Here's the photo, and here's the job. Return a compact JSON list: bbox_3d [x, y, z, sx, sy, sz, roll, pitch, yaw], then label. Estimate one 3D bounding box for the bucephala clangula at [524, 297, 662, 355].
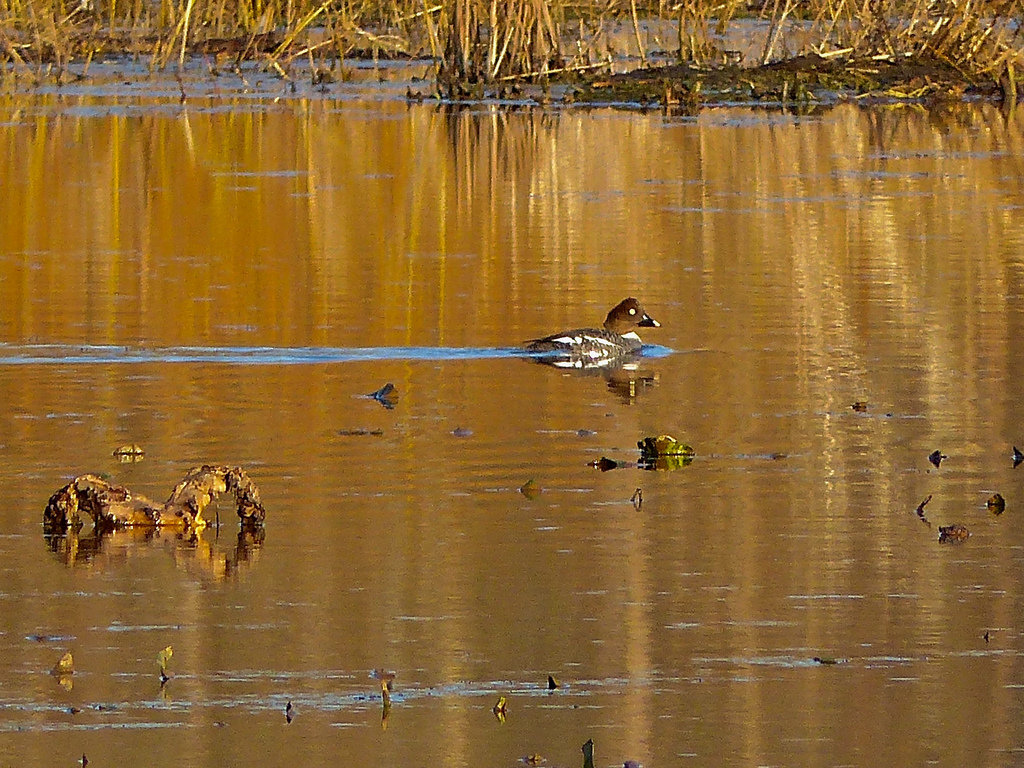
[{"bbox_3d":[0.784,-0.505,21.319,1.330,0.486,0.373,-5,12,-12],"label":"bucephala clangula"}]
